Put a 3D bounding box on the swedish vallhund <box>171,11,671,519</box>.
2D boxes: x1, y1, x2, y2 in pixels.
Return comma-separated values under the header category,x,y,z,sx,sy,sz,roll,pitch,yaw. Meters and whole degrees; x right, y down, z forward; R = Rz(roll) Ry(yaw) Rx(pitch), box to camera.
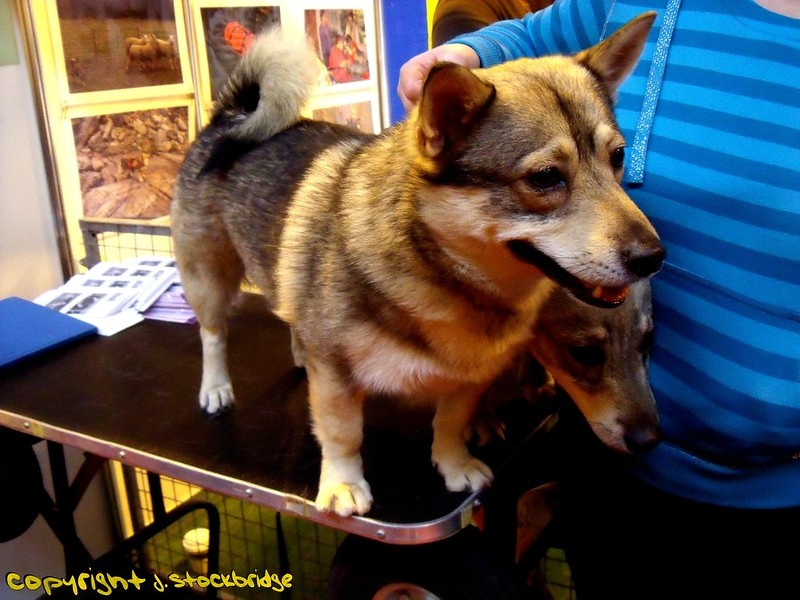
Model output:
category,x,y,z,sx,sy,sz,roll,pitch,yaw
swedish vallhund,-0.039,-0.130,1.548,1.165,0.952,0.714,26,36,37
